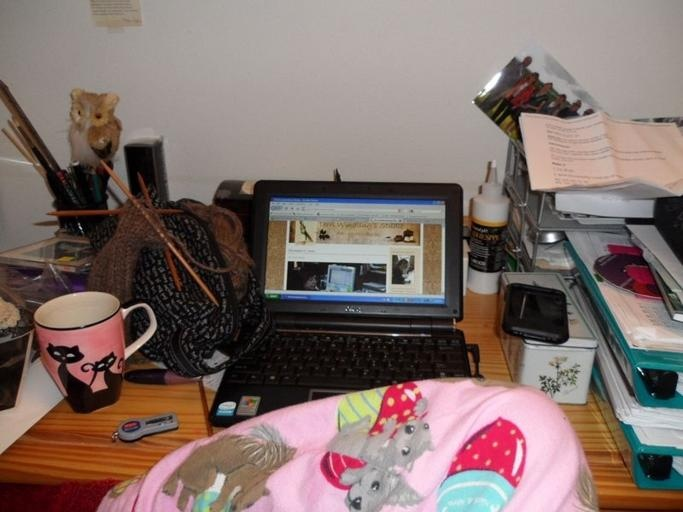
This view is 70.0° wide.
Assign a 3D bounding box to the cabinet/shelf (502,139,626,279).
[{"bbox_3d":[0.398,-0.092,0.901,0.158,0.205,0.233,1,20,3],"label":"cabinet/shelf"}]

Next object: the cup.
[{"bbox_3d":[-0.329,0.132,0.693,0.155,0.135,0.096,-13,26,-38],"label":"cup"}]

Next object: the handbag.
[{"bbox_3d":[-0.254,0.020,0.741,0.221,0.292,0.098,-27,-9,-28],"label":"handbag"}]
